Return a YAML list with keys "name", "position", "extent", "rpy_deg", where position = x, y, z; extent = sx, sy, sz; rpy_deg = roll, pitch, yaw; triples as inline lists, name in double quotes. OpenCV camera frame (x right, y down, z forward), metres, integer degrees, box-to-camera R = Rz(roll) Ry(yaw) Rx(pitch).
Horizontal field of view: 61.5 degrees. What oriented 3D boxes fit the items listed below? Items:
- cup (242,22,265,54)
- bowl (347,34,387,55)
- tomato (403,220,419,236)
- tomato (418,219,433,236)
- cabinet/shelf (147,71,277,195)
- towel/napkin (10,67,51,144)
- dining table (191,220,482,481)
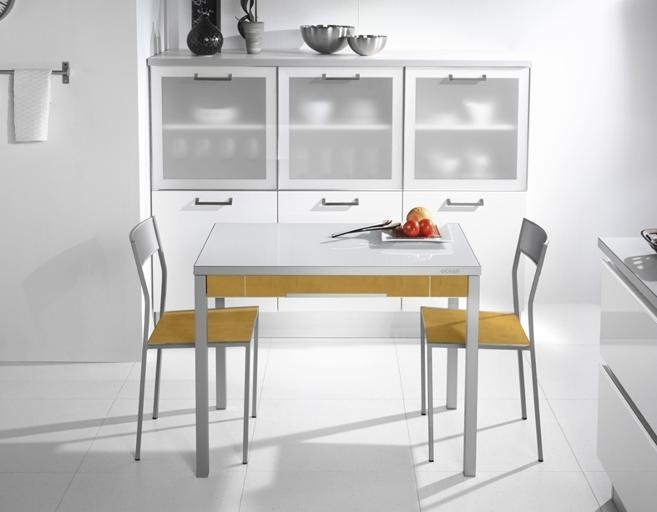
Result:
- name: "cup"
  position: [-0.485, -1.401, 3.536]
  extent: [0.175, 0.229, 0.180]
  rpy_deg: [0, 5, 0]
- name: "bowl"
  position: [0.231, -1.308, 3.450]
  extent: [0.241, 0.137, 0.148]
  rpy_deg: [0, 10, 1]
- name: "tomato"
  position: [0.374, -0.121, 2.484]
  extent: [0.066, 0.065, 0.066]
  rpy_deg: [-23, -19, 24]
- name: "tomato"
  position: [0.441, -0.130, 2.507]
  extent: [0.064, 0.073, 0.076]
  rpy_deg: [0, 7, 4]
- name: "cabinet/shelf"
  position: [-0.599, -0.737, 3.675]
  extent: [1.059, 1.055, 0.628]
  rpy_deg: [0, 5, -2]
- name: "towel/napkin"
  position: [-1.629, -0.815, 3.025]
  extent: [0.227, 0.383, 0.108]
  rpy_deg: [-3, 11, -18]
- name: "dining table"
  position: [0.032, 0.389, 2.515]
  extent: [1.226, 0.946, 0.673]
  rpy_deg: [0, 10, 0]
